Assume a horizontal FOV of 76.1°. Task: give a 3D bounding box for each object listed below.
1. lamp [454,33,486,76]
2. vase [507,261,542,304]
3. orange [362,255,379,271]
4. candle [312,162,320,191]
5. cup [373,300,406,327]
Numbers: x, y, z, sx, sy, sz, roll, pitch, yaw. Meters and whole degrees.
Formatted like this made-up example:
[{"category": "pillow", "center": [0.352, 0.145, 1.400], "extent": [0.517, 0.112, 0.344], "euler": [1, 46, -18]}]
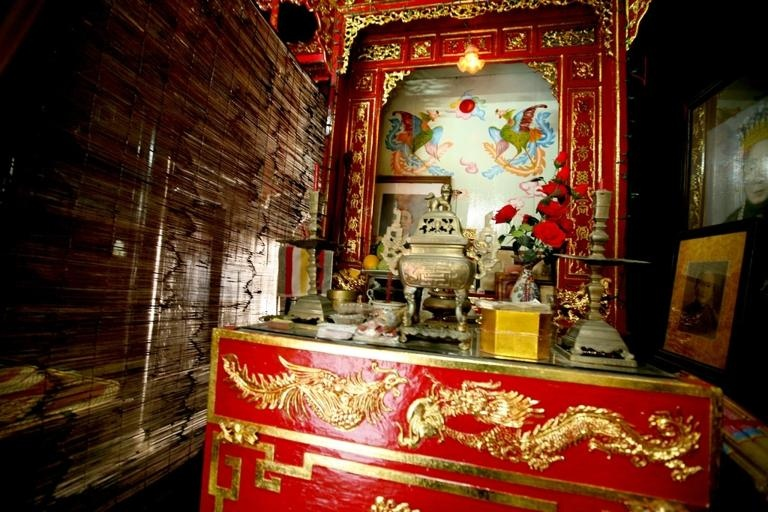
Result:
[{"category": "lamp", "center": [0.711, -1.666, 4.007], "extent": [0.233, 0.334, 0.218], "euler": [2, -2, 7]}, {"category": "vase", "center": [0.809, 0.085, 2.891], "extent": [0.197, 0.170, 0.408], "euler": [3, 16, 10]}, {"category": "orange", "center": [-0.117, 0.037, 3.817], "extent": [0.115, 0.119, 0.110], "euler": [1, -3, -25]}, {"category": "candle", "center": [-0.536, -0.649, 3.937], "extent": [0.054, 0.214, 0.110], "euler": [3, -2, -11]}, {"category": "cup", "center": [0.014, 0.289, 2.539], "extent": [0.138, 0.113, 0.134], "euler": [1, 2, 0]}]
